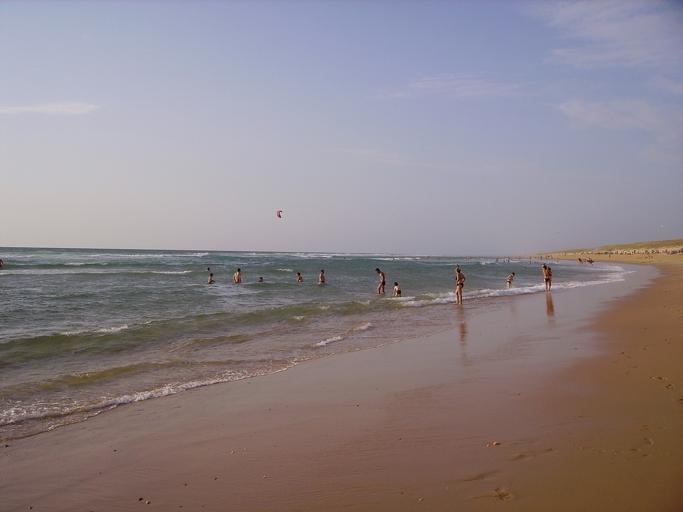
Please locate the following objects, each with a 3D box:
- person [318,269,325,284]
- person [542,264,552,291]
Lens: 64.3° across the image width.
[{"bbox_3d":[-1.613,1.640,43.527,0.622,1.452,0.842,-7,10,-1],"label":"person"},{"bbox_3d":[13.148,1.413,34.964,0.632,1.535,0.524,-4,-7,18],"label":"person"}]
